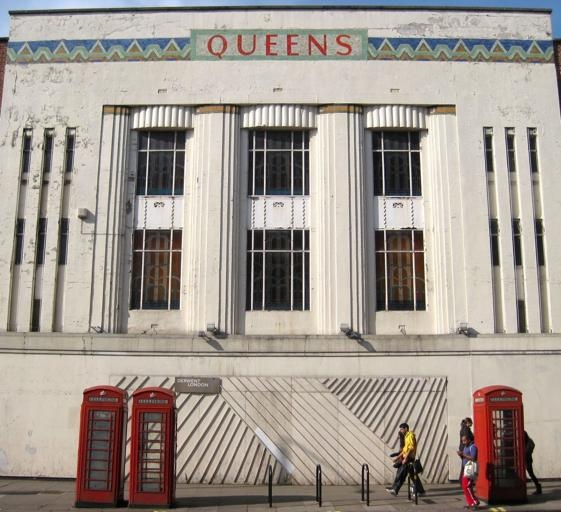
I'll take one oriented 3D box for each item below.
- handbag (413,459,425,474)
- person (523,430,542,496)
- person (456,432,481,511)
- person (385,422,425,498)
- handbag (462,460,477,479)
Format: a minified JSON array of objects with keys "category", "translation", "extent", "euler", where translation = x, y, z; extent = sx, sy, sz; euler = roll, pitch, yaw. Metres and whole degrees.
[{"category":"handbag","translation":[3.704,5.615,20.631],"extent":[0.200,0.421,0.609],"euler":[-1,-5,14]},{"category":"person","translation":[7.291,5.874,22.149],"extent":[0.434,1.685,1.712],"euler":[-2,-5,19]},{"category":"person","translation":[4.949,5.538,20.098],"extent":[0.489,1.988,1.286],"euler":[-1,-5,14]},{"category":"person","translation":[3.399,5.468,20.690],"extent":[0.541,1.923,0.920],"euler":[4,-6,-36]},{"category":"handbag","translation":[4.835,5.416,19.592],"extent":[0.353,0.455,0.221],"euler":[-2,-5,20]}]
